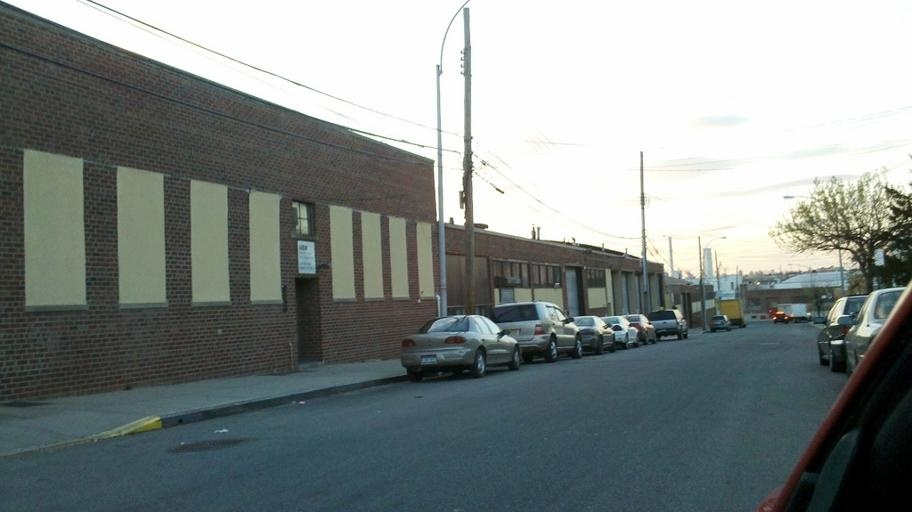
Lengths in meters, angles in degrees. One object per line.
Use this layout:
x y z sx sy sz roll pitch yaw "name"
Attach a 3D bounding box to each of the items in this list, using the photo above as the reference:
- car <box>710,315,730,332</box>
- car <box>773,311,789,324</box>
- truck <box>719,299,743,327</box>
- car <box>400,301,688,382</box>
25.615 6.522 70.863 1.609 1.534 2.193 -3 4 -5 "car"
43.822 8.242 98.683 1.893 1.065 3.927 0 1 25 "car"
30.479 6.039 80.907 3.141 3.618 5.073 -3 -1 24 "truck"
1.426 3.096 27.666 2.740 1.854 7.618 -3 -2 33 "car"
